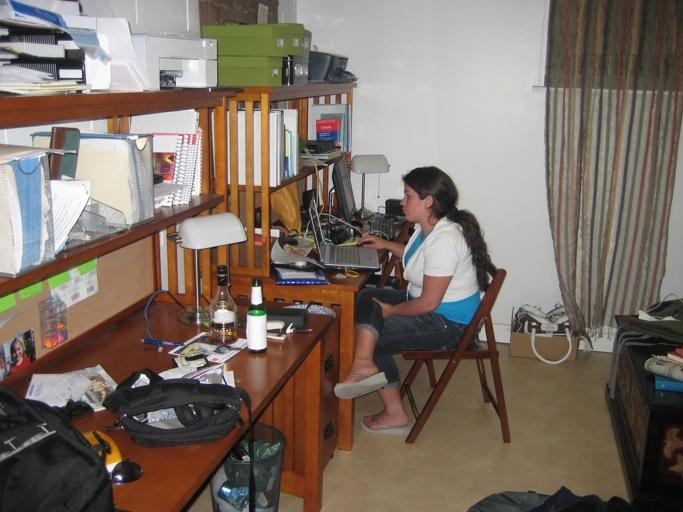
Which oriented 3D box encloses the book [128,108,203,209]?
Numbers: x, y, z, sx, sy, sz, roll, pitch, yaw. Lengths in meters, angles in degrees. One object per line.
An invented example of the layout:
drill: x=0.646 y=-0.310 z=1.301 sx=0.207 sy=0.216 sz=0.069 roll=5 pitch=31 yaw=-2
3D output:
book: x=-0.699 y=-0.412 z=2.278 sx=0.329 sy=0.436 sz=0.145 roll=-1 pitch=13 yaw=-15

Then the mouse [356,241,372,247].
mouse: x=0.143 y=-0.077 z=3.336 sx=0.080 sy=0.042 sz=0.050 roll=4 pitch=44 yaw=-6

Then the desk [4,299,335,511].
desk: x=-0.602 y=0.478 z=1.832 sx=0.451 sy=0.539 sz=0.831 roll=5 pitch=26 yaw=7

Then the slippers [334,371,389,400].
slippers: x=0.097 y=0.662 z=2.775 sx=0.299 sy=0.115 sz=0.126 roll=-17 pitch=58 yaw=-7

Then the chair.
chair: x=0.658 y=0.548 z=3.231 sx=0.649 sy=0.951 sz=0.608 roll=-2 pitch=2 yaw=14

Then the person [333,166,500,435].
person: x=0.292 y=0.241 z=3.043 sx=0.830 sy=1.499 sz=1.084 roll=6 pitch=2 yaw=42

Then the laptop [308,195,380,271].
laptop: x=0.011 y=-0.042 z=3.054 sx=0.365 sy=0.328 sz=0.517 roll=2 pitch=20 yaw=-2

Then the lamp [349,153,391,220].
lamp: x=0.196 y=-0.529 z=4.011 sx=0.283 sy=0.482 sz=0.296 roll=1 pitch=15 yaw=0

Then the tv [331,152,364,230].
tv: x=0.043 y=-0.478 z=3.892 sx=0.061 sy=0.456 sz=0.605 roll=-14 pitch=5 yaw=9

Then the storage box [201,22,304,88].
storage box: x=-0.455 y=-1.015 z=2.767 sx=0.400 sy=0.273 sz=0.417 roll=4 pitch=18 yaw=14

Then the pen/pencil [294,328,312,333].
pen/pencil: x=-0.164 y=0.312 z=2.254 sx=0.073 sy=0.011 sz=0.014 roll=-2 pitch=57 yaw=5

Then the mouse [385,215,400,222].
mouse: x=0.367 y=-0.279 z=3.895 sx=0.085 sy=0.065 sz=0.067 roll=3 pitch=6 yaw=-5

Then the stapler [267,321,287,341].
stapler: x=-0.271 y=0.309 z=2.221 sx=0.065 sy=0.025 sz=0.068 roll=12 pitch=26 yaw=15

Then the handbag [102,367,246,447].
handbag: x=-0.503 y=0.465 z=1.642 sx=0.297 sy=0.128 sz=0.211 roll=5 pitch=8 yaw=-6

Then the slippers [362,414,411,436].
slippers: x=0.263 y=0.939 z=3.123 sx=0.222 sy=0.079 sz=0.129 roll=9 pitch=15 yaw=15

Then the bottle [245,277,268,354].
bottle: x=-0.339 y=0.211 z=2.120 sx=0.086 sy=0.291 sz=0.179 roll=-3 pitch=16 yaw=-9

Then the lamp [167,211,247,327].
lamp: x=-0.602 y=0.063 z=2.362 sx=0.301 sy=0.527 sz=0.337 roll=9 pitch=21 yaw=22
